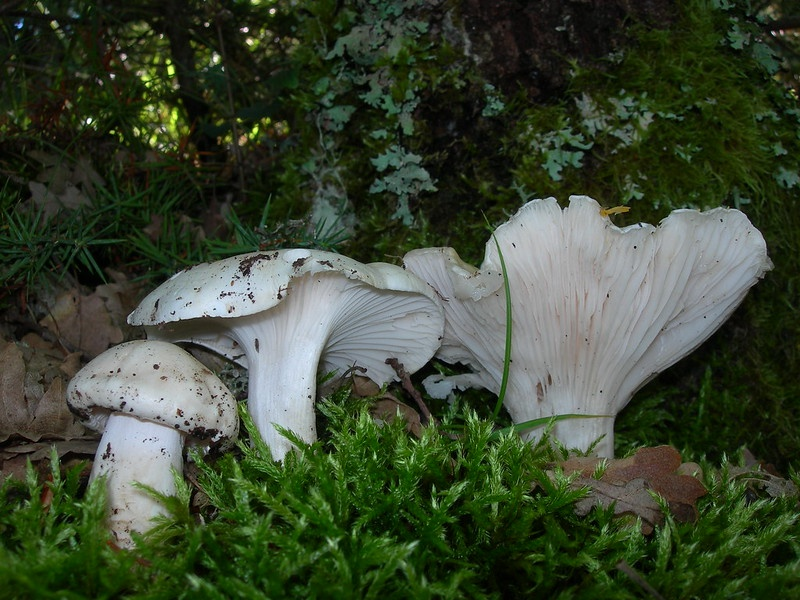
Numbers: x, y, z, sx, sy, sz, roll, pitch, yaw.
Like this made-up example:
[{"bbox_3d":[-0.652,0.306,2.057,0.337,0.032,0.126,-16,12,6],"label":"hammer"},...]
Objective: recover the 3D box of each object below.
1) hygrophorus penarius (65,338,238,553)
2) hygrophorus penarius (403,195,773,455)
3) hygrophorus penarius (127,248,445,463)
[{"bbox_3d":[-1.233,0.674,3.804,0.723,0.952,0.464,5,0,25],"label":"hygrophorus penarius"},{"bbox_3d":[1.006,-0.185,4.521,1.529,1.494,1.084,-2,44,-3],"label":"hygrophorus penarius"},{"bbox_3d":[-0.642,0.395,4.246,1.178,1.184,1.364,5,-1,-29],"label":"hygrophorus penarius"}]
